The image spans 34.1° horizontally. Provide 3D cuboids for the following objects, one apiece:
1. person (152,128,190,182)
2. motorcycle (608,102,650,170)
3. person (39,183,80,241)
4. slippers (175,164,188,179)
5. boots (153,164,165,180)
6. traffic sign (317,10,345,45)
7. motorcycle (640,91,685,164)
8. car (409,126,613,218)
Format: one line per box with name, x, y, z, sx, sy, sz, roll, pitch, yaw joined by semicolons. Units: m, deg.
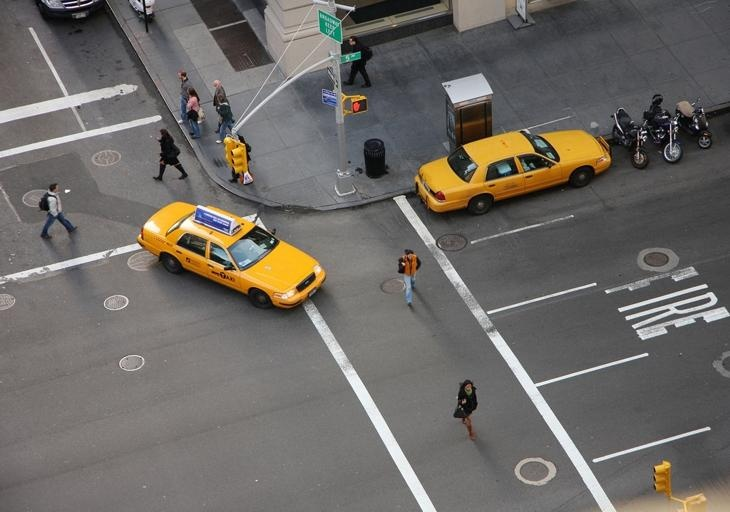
person;-6.460;-3.317;38.779;0.889;2.050;1.127;8;52;27
motorcycle;8.694;-3.952;38.933;1.061;1.456;2.411;-5;35;-16
person;-9.653;-1.416;37.199;1.079;1.697;0.683;-13;26;-31
slippers;-6.089;-2.752;39.284;0.265;0.451;0.142;-18;79;-9
boots;-6.797;-2.723;39.250;0.192;0.551;0.452;-13;54;-41
traffic sign;-1.038;-6.854;35.578;0.996;0.932;0.032;32;55;30
motorcycle;9.716;-4.146;38.966;1.083;1.459;2.481;-14;57;-4
car;4.878;-2.596;38.328;6.448;1.832;2.569;-16;58;-3
